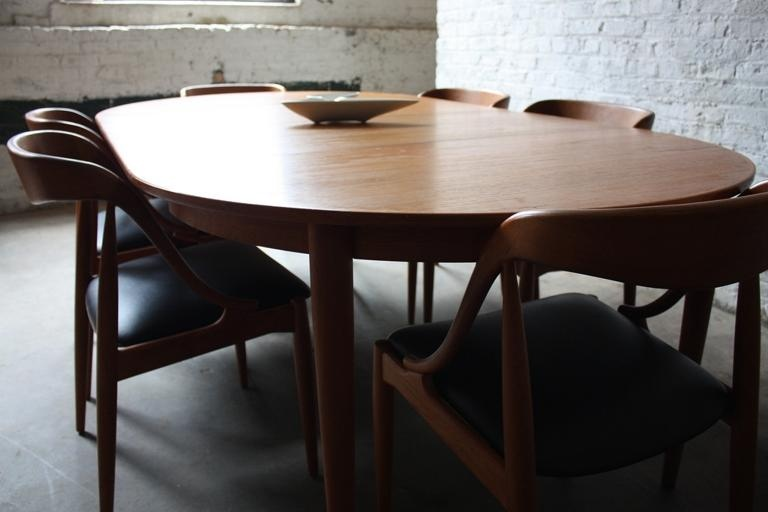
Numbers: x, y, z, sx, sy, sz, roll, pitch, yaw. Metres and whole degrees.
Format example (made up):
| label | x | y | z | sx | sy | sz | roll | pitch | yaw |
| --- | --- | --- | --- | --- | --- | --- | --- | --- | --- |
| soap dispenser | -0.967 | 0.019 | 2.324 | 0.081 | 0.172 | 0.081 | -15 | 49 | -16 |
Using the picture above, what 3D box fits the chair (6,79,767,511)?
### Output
| label | x | y | z | sx | sy | sz | roll | pitch | yaw |
| --- | --- | --- | --- | --- | --- | --- | --- | --- | --- |
| chair | 0.017 | 0.026 | 1.988 | 2.067 | 0.800 | 1.322 | 18 | 30 | 35 |
